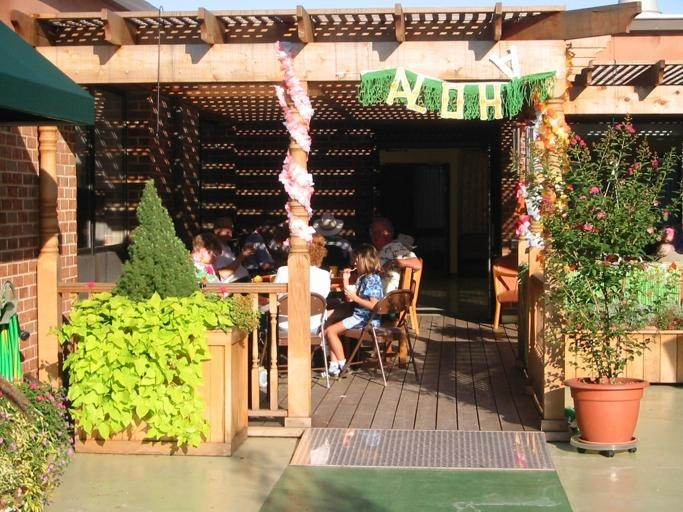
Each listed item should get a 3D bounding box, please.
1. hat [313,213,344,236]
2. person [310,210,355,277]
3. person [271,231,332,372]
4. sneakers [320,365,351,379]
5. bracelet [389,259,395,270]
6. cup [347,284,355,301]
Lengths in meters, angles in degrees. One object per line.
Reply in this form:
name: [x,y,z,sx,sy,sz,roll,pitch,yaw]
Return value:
hat: [-0.238,-0.507,10.984,0.414,0.375,0.437,1,6,12]
person: [-0.145,-0.379,11.016,0.395,1.268,0.509,-13,-30,10]
person: [-0.403,0.403,7.131,0.543,1.200,1.558,-1,6,-2]
sneakers: [-0.060,1.274,7.599,0.384,0.188,0.135,2,7,10]
bracelet: [0.666,0.095,8.993,0.027,0.101,0.071,-6,-3,37]
cup: [0.095,0.375,7.298,0.098,0.168,0.201,0,6,1]
